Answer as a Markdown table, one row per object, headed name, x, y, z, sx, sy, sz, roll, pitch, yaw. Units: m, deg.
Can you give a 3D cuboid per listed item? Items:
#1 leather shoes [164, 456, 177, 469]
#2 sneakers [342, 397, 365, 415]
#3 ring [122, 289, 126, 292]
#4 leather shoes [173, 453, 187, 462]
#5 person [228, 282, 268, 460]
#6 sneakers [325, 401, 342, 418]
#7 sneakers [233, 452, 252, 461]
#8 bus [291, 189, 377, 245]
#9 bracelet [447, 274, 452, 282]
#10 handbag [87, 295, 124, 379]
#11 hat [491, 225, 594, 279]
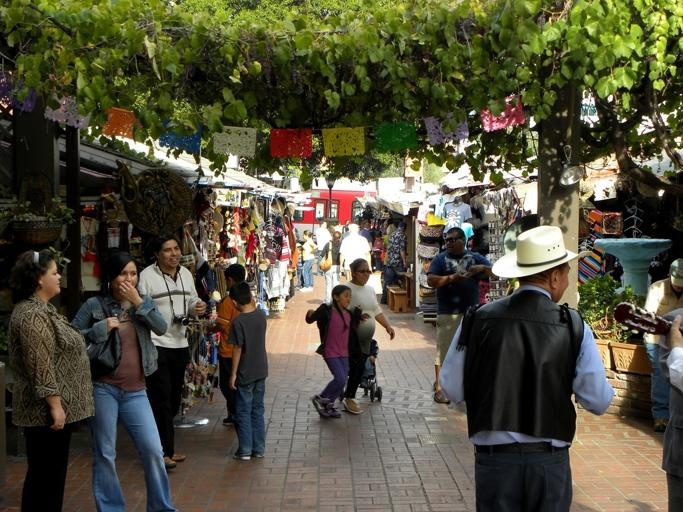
| name | x | y | z | sx | sy | sz | roll | pitch | yaw |
| --- | --- | --- | --- | --- | --- | --- | --- | --- | --- |
| leather shoes | -1.803 | 2.183 | 6.516 | 0.176 | 0.078 | 0.066 | -2 | -1 | 44 |
| sneakers | 0.143 | 2.106 | 8.672 | 0.125 | 0.139 | 0.340 | 1 | -3 | -26 |
| ring | -1.821 | 0.288 | 5.177 | 0.021 | 0.029 | 0.009 | -2 | 2 | 4 |
| leather shoes | -1.761 | 2.191 | 6.725 | 0.136 | 0.059 | 0.049 | -5 | 13 | -32 |
| person | -1.037 | 1.257 | 6.849 | 0.395 | 1.919 | 0.399 | -1 | 3 | -11 |
| sneakers | -0.115 | 2.087 | 8.336 | 0.188 | 0.072 | 0.166 | -1 | 2 | 17 |
| sneakers | -1.090 | 2.194 | 6.778 | 0.171 | 0.082 | 0.076 | 0 | 3 | 15 |
| bus | -0.829 | -2.927 | 38.159 | 5.597 | 3.076 | 2.449 | 1 | 0 | -5 |
| bracelet | 1.472 | 0.303 | 8.426 | 0.070 | 0.075 | 0.057 | 2 | -11 | 10 |
| handbag | -1.945 | 0.690 | 5.058 | 0.164 | 0.547 | 0.416 | 4 | -41 | -25 |
| hat | 1.185 | 0.047 | 3.741 | 0.408 | 0.155 | 0.357 | -20 | 20 | -5 |
